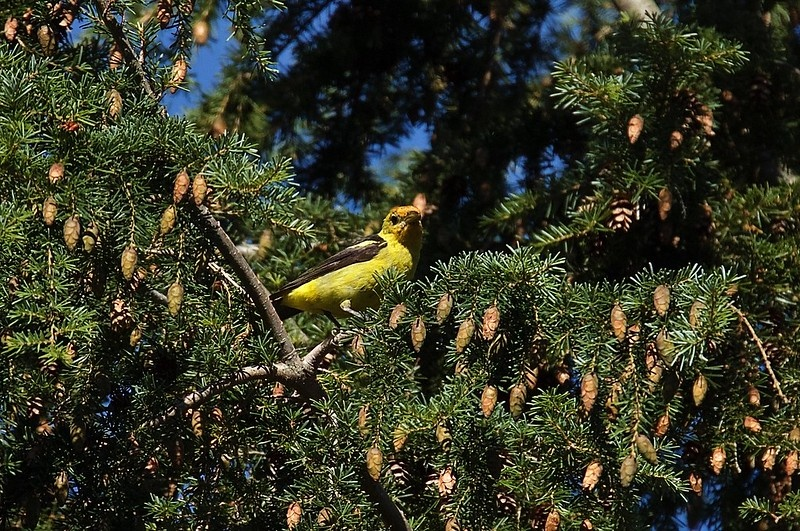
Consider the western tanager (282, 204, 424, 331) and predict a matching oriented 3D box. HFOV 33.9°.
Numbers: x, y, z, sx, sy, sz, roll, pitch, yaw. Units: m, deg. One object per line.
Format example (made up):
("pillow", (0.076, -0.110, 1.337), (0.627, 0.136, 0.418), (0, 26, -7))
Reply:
("western tanager", (-0.484, 0.019, 9.623), (1.430, 0.861, 0.487), (-2, -12, 16))
